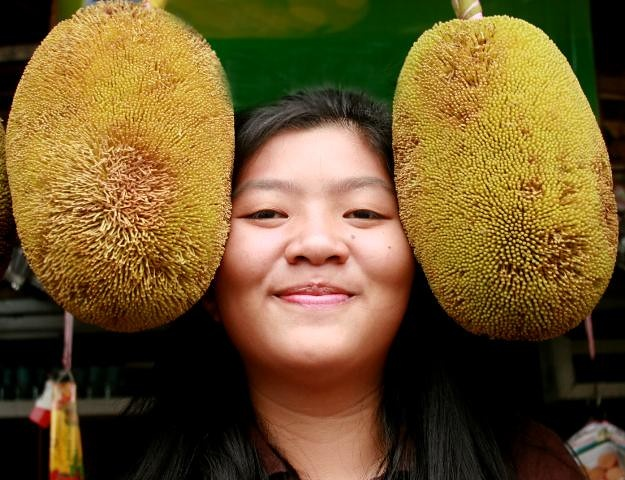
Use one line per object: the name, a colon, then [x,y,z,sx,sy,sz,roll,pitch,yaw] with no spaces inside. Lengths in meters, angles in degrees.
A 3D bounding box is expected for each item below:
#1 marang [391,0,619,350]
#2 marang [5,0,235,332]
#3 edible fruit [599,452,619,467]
marang: [0.337,-0.107,1.154,0.373,0.542,0.327,-5,29,6]
marang: [-0.331,-0.142,1.202,0.511,0.492,0.256,-1,-2,-4]
edible fruit: [0.641,0.470,1.392,0.044,0.025,0.020,-6,0,1]
